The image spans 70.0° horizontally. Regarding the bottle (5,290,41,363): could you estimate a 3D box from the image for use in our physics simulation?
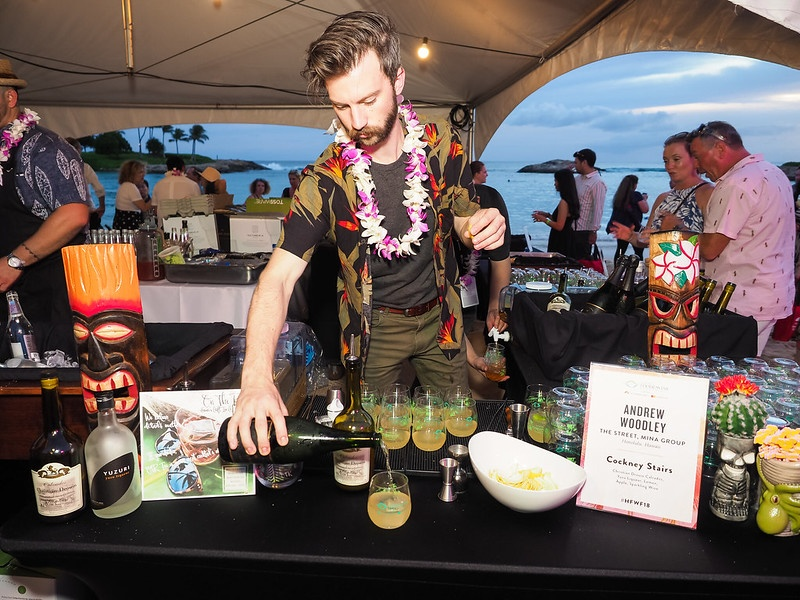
[{"bbox_3d":[-1.459,0.105,2.204,0.093,0.296,0.318,-9,13,-33],"label":"bottle"}]

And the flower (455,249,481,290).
[{"bbox_3d":[0.378,-0.175,3.218,0.078,0.080,0.253,33,-10,18],"label":"flower"}]

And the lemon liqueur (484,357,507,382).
[{"bbox_3d":[0.386,0.295,2.323,0.080,0.141,0.171,0,11,8],"label":"lemon liqueur"}]

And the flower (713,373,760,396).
[{"bbox_3d":[0.878,0.218,1.518,0.069,0.039,0.070,-1,1,0],"label":"flower"}]

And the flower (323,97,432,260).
[{"bbox_3d":[-0.067,-0.441,2.122,0.361,0.580,0.232,-3,11,-8],"label":"flower"}]

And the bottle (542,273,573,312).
[{"bbox_3d":[0.717,-0.028,2.609,0.082,0.085,0.309,17,29,11],"label":"bottle"}]

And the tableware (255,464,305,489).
[{"bbox_3d":[-0.337,0.490,1.573,0.093,0.062,0.094,0,-4,-1],"label":"tableware"}]

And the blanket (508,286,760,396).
[{"bbox_3d":[0.835,0.138,2.160,0.610,0.251,0.465,0,5,6],"label":"blanket"}]

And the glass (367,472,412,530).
[{"bbox_3d":[-0.025,0.510,1.452,0.123,0.123,0.124,0,2,-2],"label":"glass"}]

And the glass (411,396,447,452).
[{"bbox_3d":[0.084,0.374,1.718,0.141,0.208,0.144,0,-3,-3],"label":"glass"}]

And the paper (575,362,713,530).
[{"bbox_3d":[0.629,0.401,1.487,0.371,0.509,0.050,5,0,19],"label":"paper"}]

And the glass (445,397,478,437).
[{"bbox_3d":[0.186,0.366,1.769,0.113,0.112,0.115,-1,0,-3],"label":"glass"}]

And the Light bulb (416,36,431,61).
[{"bbox_3d":[0.227,-2.394,5.406,0.119,0.168,0.121,2,20,4],"label":"Light bulb"}]

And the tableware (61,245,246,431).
[{"bbox_3d":[-0.748,0.069,1.765,0.421,0.591,0.570,2,9,19],"label":"tableware"}]

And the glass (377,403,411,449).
[{"bbox_3d":[-0.013,0.383,1.716,0.118,0.125,0.121,0,-3,-3],"label":"glass"}]

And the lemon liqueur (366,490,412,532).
[{"bbox_3d":[-0.026,0.534,1.446,0.095,0.074,0.097,0,-2,-1],"label":"lemon liqueur"}]
